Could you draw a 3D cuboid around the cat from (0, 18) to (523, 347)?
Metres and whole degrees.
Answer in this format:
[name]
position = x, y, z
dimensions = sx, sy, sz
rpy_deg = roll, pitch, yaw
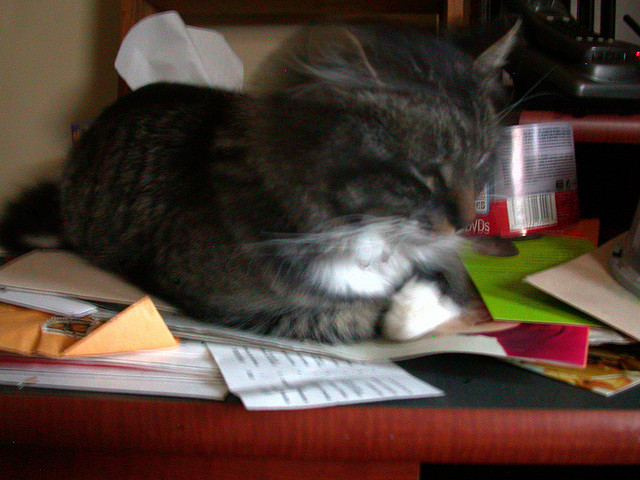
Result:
[cat]
position = -0.186, -0.119, 0.924
dimensions = 0.798, 0.263, 0.503
rpy_deg = 13, 25, 22

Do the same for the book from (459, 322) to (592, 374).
[book]
position = 0.289, 0.134, 0.746
dimensions = 0.102, 0.018, 0.097
rpy_deg = -9, 12, -44
